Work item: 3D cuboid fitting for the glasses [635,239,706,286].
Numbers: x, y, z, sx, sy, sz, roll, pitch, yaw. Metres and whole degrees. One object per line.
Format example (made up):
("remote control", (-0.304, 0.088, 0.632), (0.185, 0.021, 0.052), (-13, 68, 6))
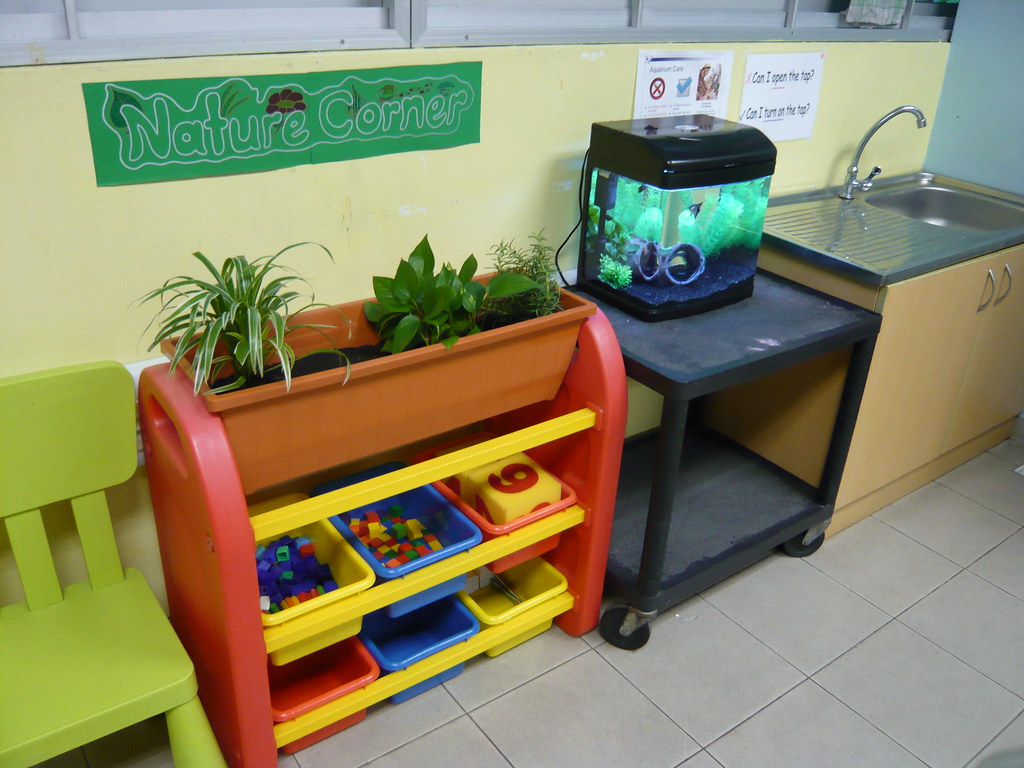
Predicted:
("glasses", (0.428, -0.320, 1.994), (0.087, 0.110, 0.165), (18, -7, -34))

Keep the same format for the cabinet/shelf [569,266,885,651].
("cabinet/shelf", (0.558, 0.192, 2.228), (0.943, 0.844, 0.568), (-23, 35, -33))

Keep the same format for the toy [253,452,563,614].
("toy", (-0.333, 0.408, 1.920), (0.604, 0.110, 0.380), (-24, 37, -33))
